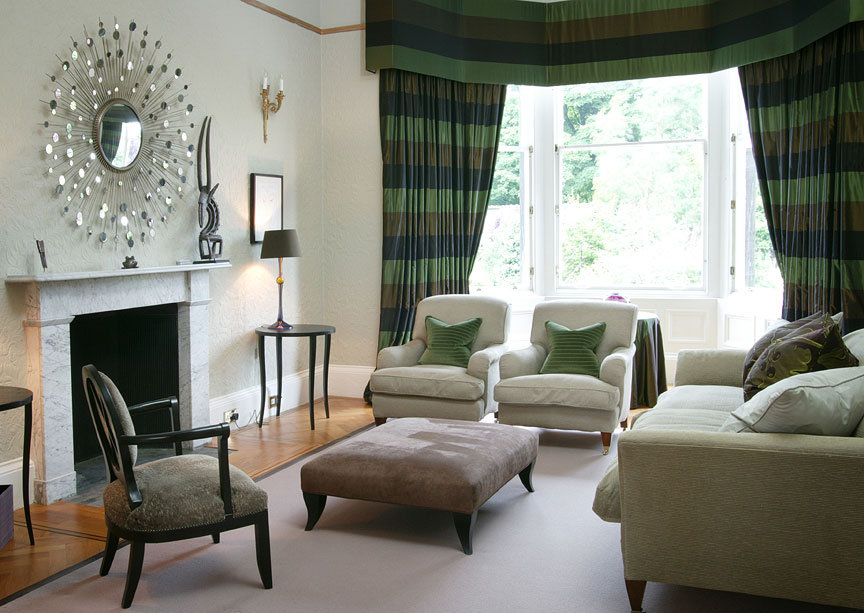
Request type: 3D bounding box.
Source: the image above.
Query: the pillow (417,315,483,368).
[{"bbox_3d":[0.148,0.324,5.786,0.477,0.431,0.242,2,-1,17],"label":"pillow"}]

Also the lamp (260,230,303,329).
[{"bbox_3d":[-1.361,-0.265,5.937,0.324,0.856,0.683,-2,9,-12],"label":"lamp"}]

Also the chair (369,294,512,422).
[{"bbox_3d":[0.074,0.345,5.628,1.006,1.076,1.181,-1,-2,22],"label":"chair"}]

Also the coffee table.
[{"bbox_3d":[-0.078,0.933,3.844,0.784,0.361,0.894,0,4,21],"label":"coffee table"}]

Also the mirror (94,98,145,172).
[{"bbox_3d":[-2.242,-1.220,4.656,0.058,0.477,0.437,1,-23,26],"label":"mirror"}]

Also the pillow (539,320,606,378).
[{"bbox_3d":[1.162,0.368,5.464,0.465,0.460,0.254,0,-4,24],"label":"pillow"}]

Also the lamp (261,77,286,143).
[{"bbox_3d":[-1.436,-1.815,6.098,0.190,0.608,0.442,2,9,14],"label":"lamp"}]

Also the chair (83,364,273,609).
[{"bbox_3d":[-1.396,0.847,3.869,1.081,1.608,1.012,-2,2,-27],"label":"chair"}]

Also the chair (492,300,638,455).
[{"bbox_3d":[1.180,0.567,5.533,0.954,1.199,1.248,0,1,28],"label":"chair"}]
